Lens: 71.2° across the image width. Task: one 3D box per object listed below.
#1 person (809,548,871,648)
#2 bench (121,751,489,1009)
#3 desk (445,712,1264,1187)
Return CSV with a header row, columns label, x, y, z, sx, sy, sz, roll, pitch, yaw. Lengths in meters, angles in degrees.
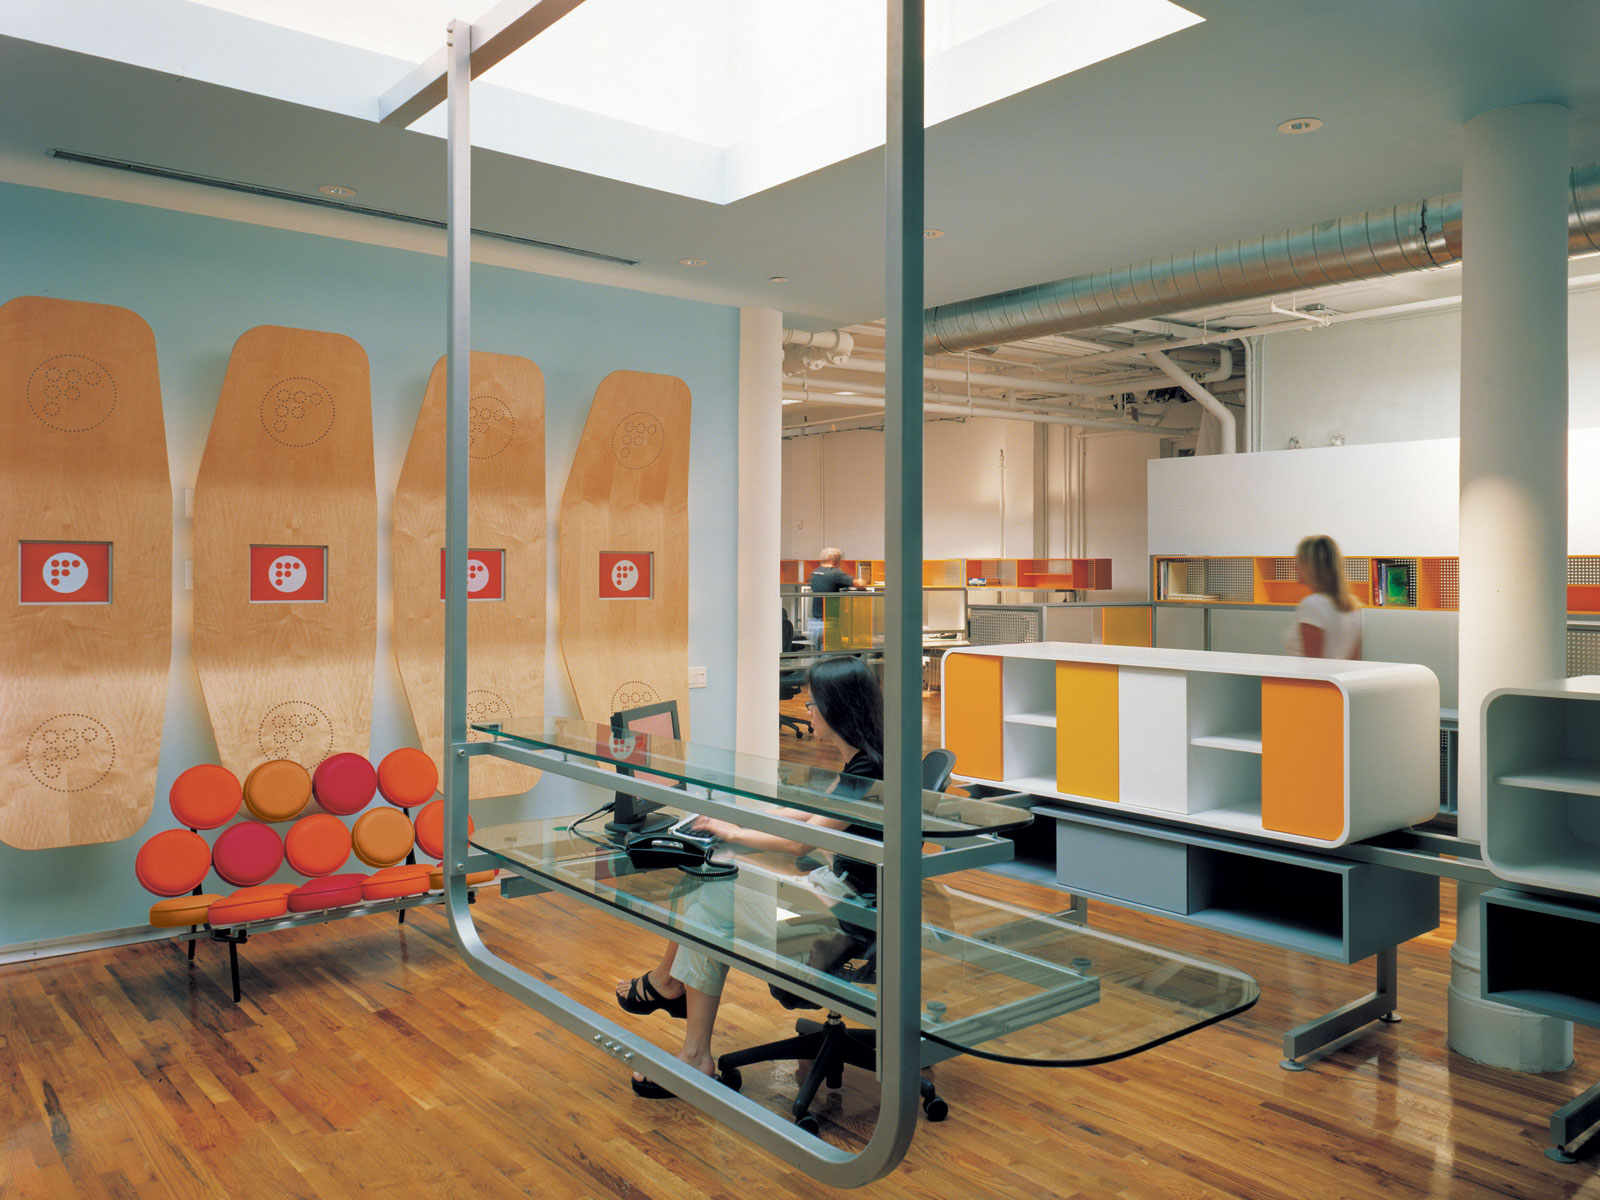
label,x,y,z,sx,sy,sz,roll,pitch,yaw
person,0.409,0.026,12.291,0.570,1.092,0.498,-3,-1,-39
bench,-2.437,1.323,5.752,0.690,0.924,1.715,3,0,42
desk,0.042,0.676,3.131,2.054,1.049,1.183,5,7,40
